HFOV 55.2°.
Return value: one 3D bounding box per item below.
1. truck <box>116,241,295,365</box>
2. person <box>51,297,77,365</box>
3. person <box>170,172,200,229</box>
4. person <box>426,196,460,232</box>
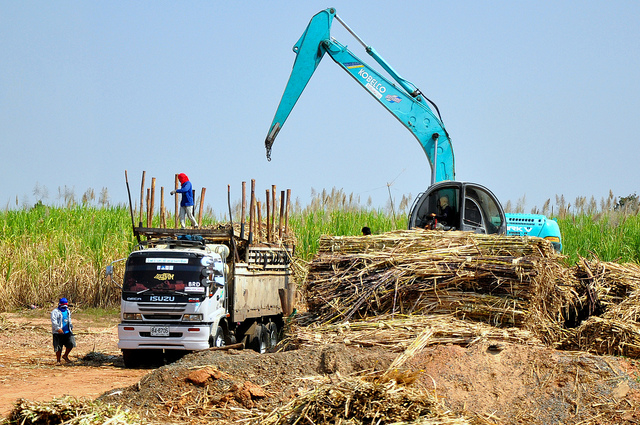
[{"bbox_3d":[-3.145,2.604,18.791,2.855,3.425,7.084,-1,-7,10],"label":"truck"},{"bbox_3d":[-6.646,3.147,16.551,0.552,1.711,1.131,2,-3,-22],"label":"person"},{"bbox_3d":[-3.961,-0.358,18.879,0.707,1.642,2.245,1,-4,-10],"label":"person"},{"bbox_3d":[2.930,0.000,15.120,0.888,0.863,1.070,1,-4,-13],"label":"person"}]
